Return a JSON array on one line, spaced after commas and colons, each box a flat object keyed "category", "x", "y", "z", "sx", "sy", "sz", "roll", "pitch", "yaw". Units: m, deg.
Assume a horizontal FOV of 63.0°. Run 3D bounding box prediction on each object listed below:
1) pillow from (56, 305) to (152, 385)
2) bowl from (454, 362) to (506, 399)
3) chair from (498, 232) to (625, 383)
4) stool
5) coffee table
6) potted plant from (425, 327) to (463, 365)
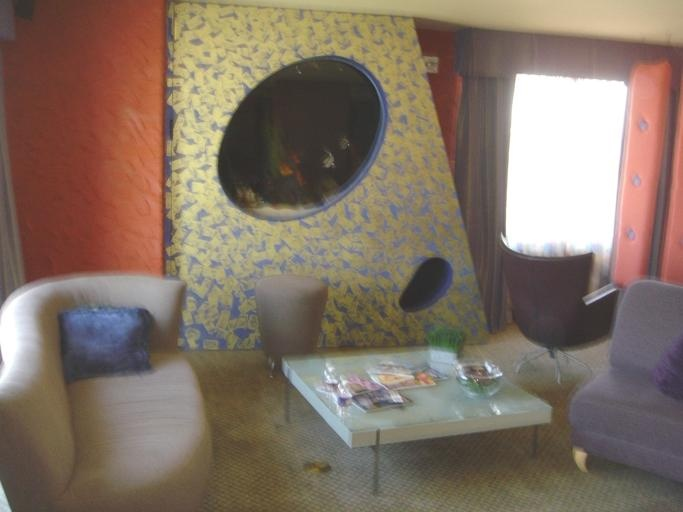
[{"category": "pillow", "x": -1.232, "y": 0.440, "z": 3.003, "sx": 0.582, "sy": 0.516, "sz": 0.321, "roll": -1, "pitch": -9, "yaw": -24}, {"category": "bowl", "x": 0.705, "y": 0.685, "z": 2.953, "sx": 0.204, "sy": 0.139, "sz": 0.212, "roll": 17, "pitch": 3, "yaw": -1}, {"category": "chair", "x": 1.620, "y": 0.400, "z": 4.209, "sx": 0.713, "sy": 0.995, "sz": 0.769, "roll": -12, "pitch": 16, "yaw": -30}, {"category": "stool", "x": -0.353, "y": 0.499, "z": 3.905, "sx": 0.569, "sy": 0.696, "sz": 0.571, "roll": 5, "pitch": -4, "yaw": -44}, {"category": "coffee table", "x": 0.359, "y": 0.837, "z": 3.088, "sx": 1.090, "sy": 0.412, "sz": 1.073, "roll": -4, "pitch": 15, "yaw": -25}, {"category": "potted plant", "x": 0.600, "y": 0.510, "z": 3.259, "sx": 0.208, "sy": 0.226, "sz": 0.175, "roll": -1, "pitch": -5, "yaw": 18}]
